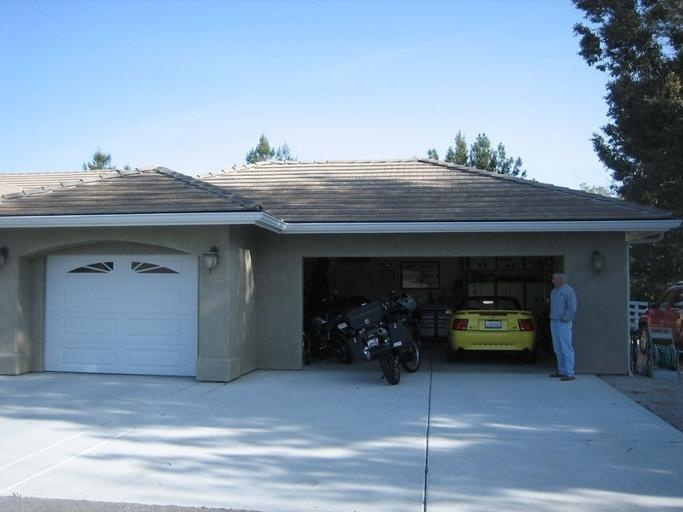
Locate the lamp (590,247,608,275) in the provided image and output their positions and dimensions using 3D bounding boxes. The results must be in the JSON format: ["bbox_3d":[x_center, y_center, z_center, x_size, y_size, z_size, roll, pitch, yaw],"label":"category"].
[{"bbox_3d":[5.380,0.090,13.631,0.382,0.559,0.389,0,-6,-2],"label":"lamp"}]

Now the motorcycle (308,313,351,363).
[{"bbox_3d":[-0.258,1.792,13.863,0.766,0.884,1.483,-2,-7,3],"label":"motorcycle"}]

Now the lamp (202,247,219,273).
[{"bbox_3d":[-2.572,0.058,12.869,0.348,0.612,0.410,0,-5,-4],"label":"lamp"}]

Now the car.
[{"bbox_3d":[3.641,1.709,15.890,1.972,1.261,3.051,1,8,10],"label":"car"}]

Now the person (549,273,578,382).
[{"bbox_3d":[4.481,1.439,13.109,0.532,2.143,0.418,4,8,31],"label":"person"}]

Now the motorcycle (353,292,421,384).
[{"bbox_3d":[1.037,1.734,13.255,0.919,1.768,1.946,3,8,24],"label":"motorcycle"}]

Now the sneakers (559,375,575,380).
[{"bbox_3d":[4.578,2.470,13.089,0.259,0.126,0.118,7,-14,-18],"label":"sneakers"}]
